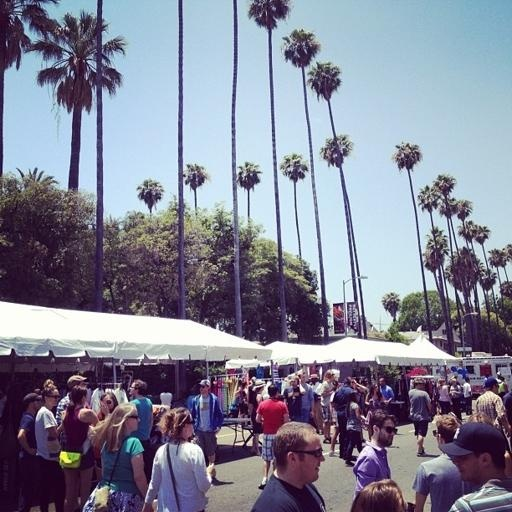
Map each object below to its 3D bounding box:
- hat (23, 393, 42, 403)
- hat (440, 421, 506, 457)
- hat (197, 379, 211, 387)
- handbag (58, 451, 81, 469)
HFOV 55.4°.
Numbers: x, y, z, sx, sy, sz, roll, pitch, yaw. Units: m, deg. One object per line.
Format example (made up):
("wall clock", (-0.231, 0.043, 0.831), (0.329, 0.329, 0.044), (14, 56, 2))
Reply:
("hat", (-3.555, 2.270, 7.788), (0.242, 0.159, 0.363), (4, -14, -27))
("hat", (1.264, 1.045, 2.830), (0.236, 0.178, 0.209), (3, -15, 17))
("hat", (-1.058, 2.689, 10.306), (0.163, 0.113, 0.289), (-3, -16, 11))
("handbag", (-2.417, 2.666, 6.382), (0.275, 0.369, 0.122), (-4, -14, 8))
